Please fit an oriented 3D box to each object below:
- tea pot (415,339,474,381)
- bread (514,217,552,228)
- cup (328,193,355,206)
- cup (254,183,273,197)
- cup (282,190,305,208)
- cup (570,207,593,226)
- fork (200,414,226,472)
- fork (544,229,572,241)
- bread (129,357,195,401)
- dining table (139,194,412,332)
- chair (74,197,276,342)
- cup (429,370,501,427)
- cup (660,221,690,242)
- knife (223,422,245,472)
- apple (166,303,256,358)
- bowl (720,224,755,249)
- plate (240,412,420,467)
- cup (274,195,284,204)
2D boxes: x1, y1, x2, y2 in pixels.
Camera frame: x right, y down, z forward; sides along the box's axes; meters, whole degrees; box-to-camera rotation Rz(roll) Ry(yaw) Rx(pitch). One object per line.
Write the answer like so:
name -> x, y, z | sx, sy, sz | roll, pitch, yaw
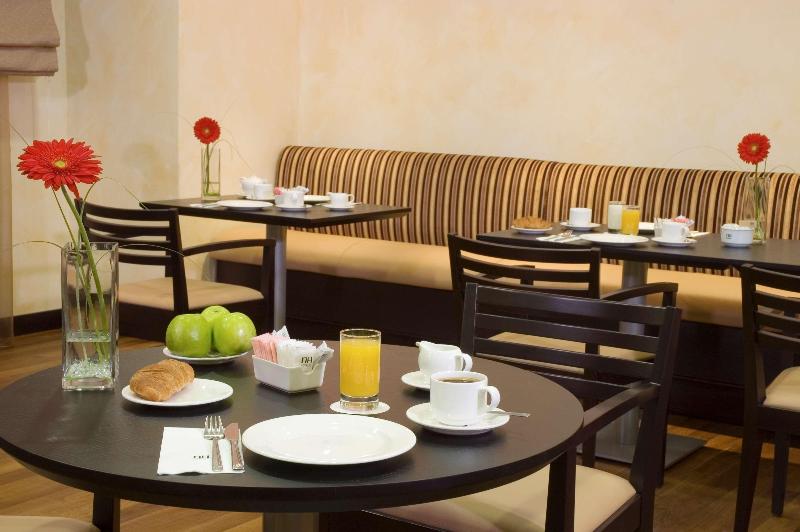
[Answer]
tea pot -> 0.103, 0.224, 1.457 | 0.129, 0.092, 0.099 | 6, 6, 41
bread -> 0.675, -0.226, 3.261 | 0.151, 0.053, 0.123 | 5, 3, 43
cup -> -0.355, -0.396, 3.719 | 0.159, 0.081, 0.100 | 3, -2, -22
cup -> -0.862, -0.467, 3.892 | 0.086, 0.085, 0.111 | 0, 2, 1
cup -> -0.643, -0.393, 3.638 | 0.083, 0.095, 0.134 | 0, 1, 3
cup -> 0.960, -0.261, 3.314 | 0.096, 0.096, 0.132 | -1, 4, -4
fork -> -0.348, 0.308, 1.147 | 0.032, 0.028, 0.187 | 2, 18, -12
fork -> 0.799, -0.160, 3.059 | 0.062, 0.029, 0.242 | 8, 9, 30
bread -> -0.519, 0.239, 1.310 | 0.074, 0.039, 0.108 | 9, 14, 21
dining table -> -0.681, -0.251, 3.722 | 0.983, 1.002, 1.014 | 8, 11, 41
chair -> -1.299, 0.133, 3.610 | 0.766, 1.034, 0.772 | 10, 13, 39
cup -> 0.132, 0.271, 1.249 | 0.143, 0.094, 0.112 | 1, 2, 40
cup -> 1.299, -0.163, 2.909 | 0.088, 0.089, 0.116 | -4, 5, -34
knife -> -0.307, 0.333, 1.135 | 0.014, 0.087, 0.006 | -8, -2, -16
apple -> -0.463, 0.162, 1.453 | 0.138, 0.075, 0.148 | 0, -2, 3
bowl -> 1.608, -0.140, 2.963 | 0.104, 0.096, 0.135 | -3, 1, -37
plate -> -0.133, 0.319, 1.143 | 0.313, 0.027, 0.174 | -1, 12, -5
cup -> -0.732, -0.391, 3.705 | 0.065, 0.050, 0.068 | 0, 4, 0
